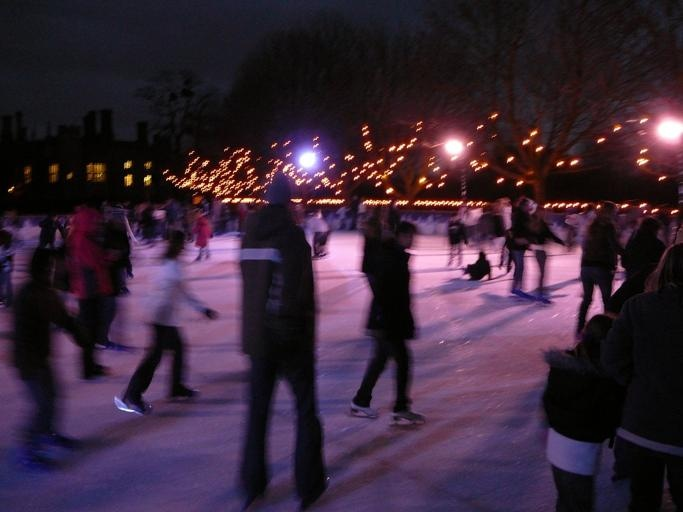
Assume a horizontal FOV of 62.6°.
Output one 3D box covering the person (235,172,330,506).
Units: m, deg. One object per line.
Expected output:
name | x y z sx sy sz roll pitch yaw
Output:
person | -0.414 0.616 3.977 0.564 2.311 0.344 -1 7 2

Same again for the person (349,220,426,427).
person | 0.432 0.616 5.129 0.632 1.852 0.387 0 7 9

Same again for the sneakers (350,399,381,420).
sneakers | 0.209 1.486 5.353 0.247 0.111 0.132 0 -4 5

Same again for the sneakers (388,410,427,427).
sneakers | 0.606 1.484 5.197 0.272 0.113 0.143 -3 -3 -4
